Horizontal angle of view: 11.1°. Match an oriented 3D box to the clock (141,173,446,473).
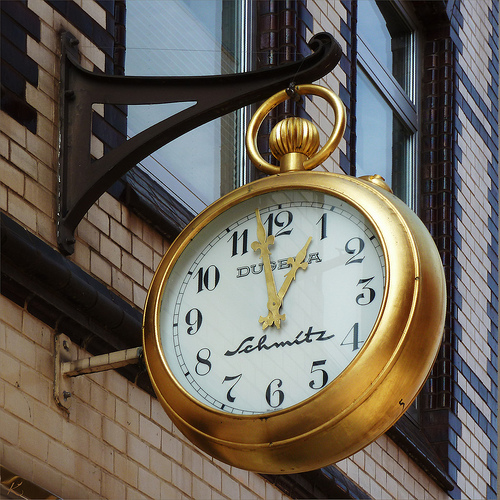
[{"bbox_3d":[0.140,0.348,13.212,1.404,1.789,0.471,5,-23,23],"label":"clock"}]
